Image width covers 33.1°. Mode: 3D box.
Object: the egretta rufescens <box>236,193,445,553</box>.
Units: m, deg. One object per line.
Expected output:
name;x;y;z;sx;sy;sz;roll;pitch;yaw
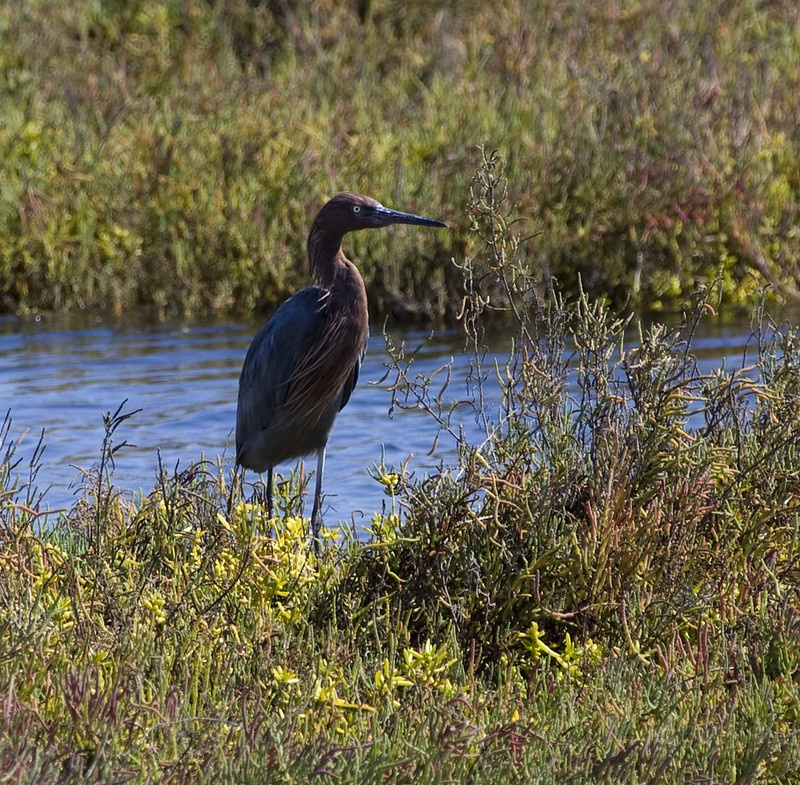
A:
egretta rufescens;-0.434;-0.293;6.725;1.041;1.582;0.400;-2;0;44
